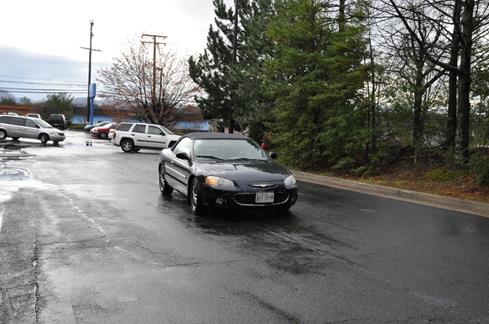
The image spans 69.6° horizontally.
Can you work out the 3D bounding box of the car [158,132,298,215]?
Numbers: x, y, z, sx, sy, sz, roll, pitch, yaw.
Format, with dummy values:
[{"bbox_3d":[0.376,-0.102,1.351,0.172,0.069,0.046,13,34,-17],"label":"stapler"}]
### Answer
[{"bbox_3d":[-0.699,0.264,9.622,1.783,1.345,3.665,2,3,-24],"label":"car"}]
